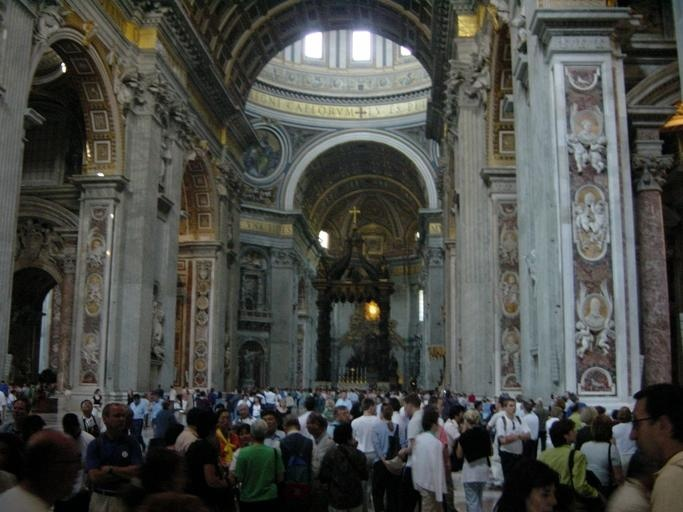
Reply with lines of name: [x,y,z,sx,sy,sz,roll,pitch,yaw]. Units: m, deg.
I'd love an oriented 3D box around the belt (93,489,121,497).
belt: [-2.499,2.548,8.699,0.404,0.086,0.101,-9,-15,33]

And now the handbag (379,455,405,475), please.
handbag: [0.676,2.685,10.455,0.262,0.237,0.212,-11,8,-27]
